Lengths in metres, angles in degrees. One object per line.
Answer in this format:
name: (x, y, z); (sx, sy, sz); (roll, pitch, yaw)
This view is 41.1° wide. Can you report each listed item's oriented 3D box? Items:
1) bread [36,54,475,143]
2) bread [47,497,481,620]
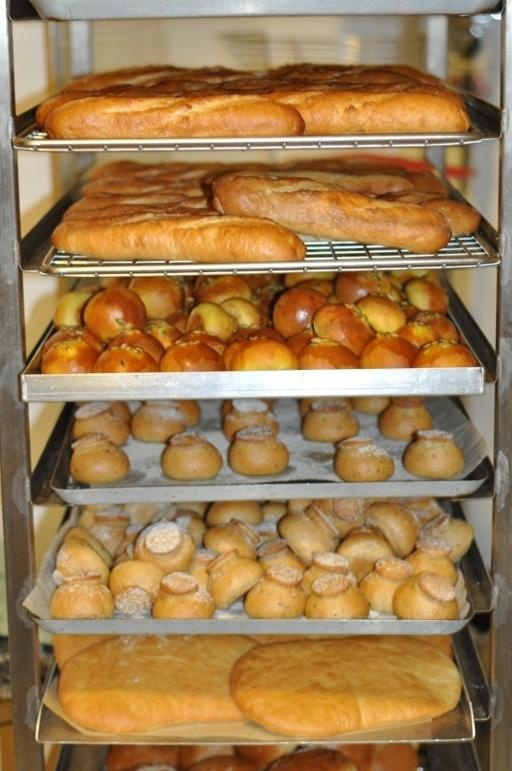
bread: (0.003, -0.406, 0.990); (0.606, 0.332, 0.091); (0, -66, -1)
bread: (0.003, 0.294, 1.129); (0.521, 0.287, 0.055); (3, -71, 0)
